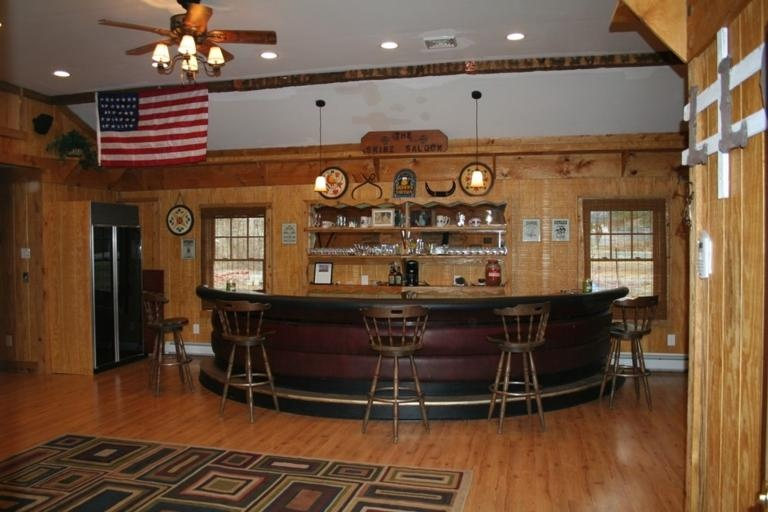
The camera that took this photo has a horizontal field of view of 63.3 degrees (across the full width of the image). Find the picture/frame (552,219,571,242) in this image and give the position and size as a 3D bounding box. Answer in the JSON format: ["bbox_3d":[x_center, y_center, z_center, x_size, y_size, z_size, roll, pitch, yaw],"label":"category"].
[{"bbox_3d":[2.723,-0.399,9.531,0.412,0.434,0.052,0,-2,10],"label":"picture/frame"}]

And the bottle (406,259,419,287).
[{"bbox_3d":[0.415,0.240,9.663,0.207,0.384,0.204,-1,11,0],"label":"bottle"}]

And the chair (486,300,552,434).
[{"bbox_3d":[1.538,1.187,7.160,0.645,1.431,0.880,2,11,13],"label":"chair"}]

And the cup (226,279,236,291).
[{"bbox_3d":[-2.513,0.466,10.099,0.190,0.215,0.172,0,-4,2],"label":"cup"}]

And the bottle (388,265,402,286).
[{"bbox_3d":[0.165,0.272,9.807,0.226,0.303,0.345,-1,10,1],"label":"bottle"}]

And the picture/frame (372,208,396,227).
[{"bbox_3d":[-0.026,-0.605,9.823,0.349,0.245,0.026,0,-3,10],"label":"picture/frame"}]

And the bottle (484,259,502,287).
[{"bbox_3d":[1.648,0.244,9.496,0.217,0.386,0.260,1,11,7],"label":"bottle"}]

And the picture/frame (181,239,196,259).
[{"bbox_3d":[-3.358,-0.118,10.561,0.268,0.341,0.086,3,12,20],"label":"picture/frame"}]

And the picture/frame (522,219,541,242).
[{"bbox_3d":[2.284,-0.404,9.589,0.420,0.456,0.053,0,0,10],"label":"picture/frame"}]
